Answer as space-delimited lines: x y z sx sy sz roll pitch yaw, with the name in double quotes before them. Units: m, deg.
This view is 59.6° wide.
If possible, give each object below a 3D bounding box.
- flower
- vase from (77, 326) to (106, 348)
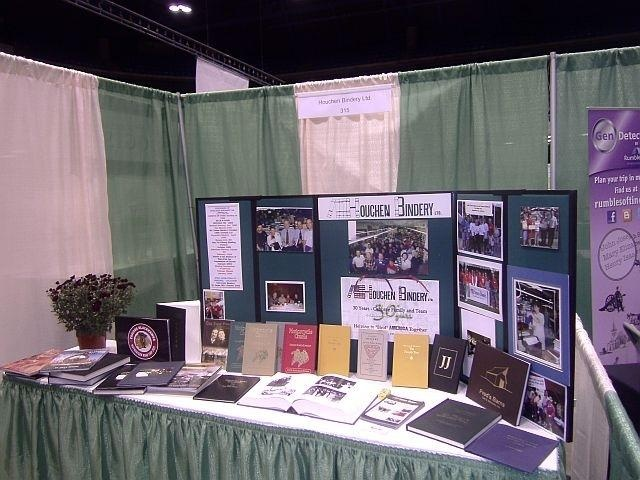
"flower" -1.305 0.335 3.170 0.321 0.325 0.414 2 3 3
"vase" -1.329 0.565 3.215 0.120 0.106 0.127 0 -3 18
